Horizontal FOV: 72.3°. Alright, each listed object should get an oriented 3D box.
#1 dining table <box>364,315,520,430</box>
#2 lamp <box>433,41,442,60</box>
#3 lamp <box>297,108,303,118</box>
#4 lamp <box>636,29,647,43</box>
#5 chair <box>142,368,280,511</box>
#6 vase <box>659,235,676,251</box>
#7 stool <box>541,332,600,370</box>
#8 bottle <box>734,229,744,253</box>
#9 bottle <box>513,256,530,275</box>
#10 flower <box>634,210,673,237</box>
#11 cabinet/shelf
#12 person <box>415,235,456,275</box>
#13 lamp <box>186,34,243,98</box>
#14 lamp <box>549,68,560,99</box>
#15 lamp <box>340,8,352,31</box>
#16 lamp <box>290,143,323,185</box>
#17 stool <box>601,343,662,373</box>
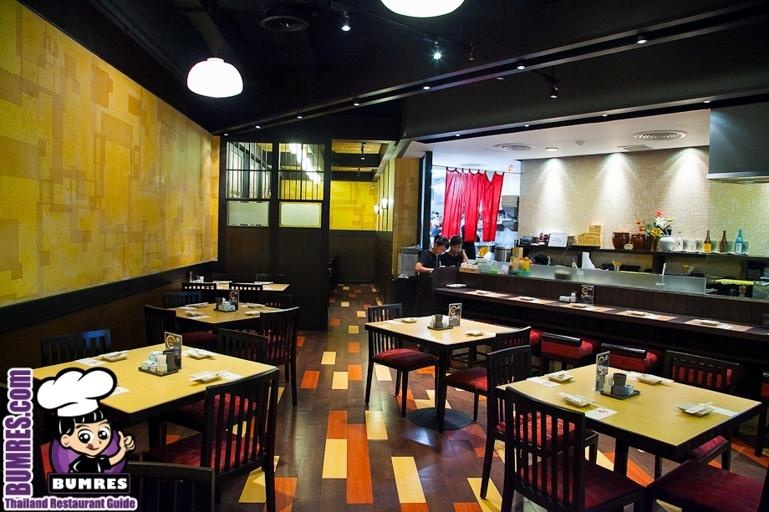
[{"bbox_3d":[0.625,1.009,5.943,1.347,1.049,1.309,-4,6,-40],"label":"dining table"},{"bbox_3d":[0.598,-2.271,5.901,0.103,0.197,0.045,3,12,10],"label":"lamp"},{"bbox_3d":[-1.238,-2.050,7.763,0.091,0.068,0.493,-1,11,-8],"label":"lamp"},{"bbox_3d":[2.462,-2.079,5.053,0.078,0.088,0.078,-22,21,-3],"label":"lamp"},{"bbox_3d":[-1.287,1.515,4.200,0.758,1.260,0.757,7,13,27],"label":"chair"},{"bbox_3d":[4.449,-0.197,8.392,0.236,0.268,0.229,0,-2,-36],"label":"vase"},{"bbox_3d":[2.262,1.103,6.295,0.549,0.499,0.517,-2,5,-39],"label":"stool"},{"bbox_3d":[5.485,-0.229,8.133,0.134,0.328,0.486,8,13,33],"label":"bottle"},{"bbox_3d":[2.003,0.140,7.740,0.251,0.271,0.244,-2,9,-9],"label":"bottle"},{"bbox_3d":[4.479,-0.506,8.798,0.511,0.355,0.523,-2,1,30],"label":"flower"},{"bbox_3d":[2.889,0.486,6.897,3.455,0.481,0.220,9,14,37],"label":"cabinet/shelf"},{"bbox_3d":[0.761,-0.031,8.394,0.479,0.536,0.851,2,11,7],"label":"person"},{"bbox_3d":[-1.793,-1.885,5.561,0.520,0.387,0.193,-3,12,-18],"label":"lamp"},{"bbox_3d":[2.246,-2.270,6.930,0.142,0.409,0.652,4,12,16],"label":"lamp"},{"bbox_3d":[-0.421,-2.599,5.862,0.164,0.091,0.205,3,35,-7],"label":"lamp"},{"bbox_3d":[-1.414,-1.627,9.399,0.562,0.675,0.241,-2,12,-13],"label":"lamp"},{"bbox_3d":[2.766,1.098,5.854,0.513,0.318,0.536,1,0,-38],"label":"stool"}]
